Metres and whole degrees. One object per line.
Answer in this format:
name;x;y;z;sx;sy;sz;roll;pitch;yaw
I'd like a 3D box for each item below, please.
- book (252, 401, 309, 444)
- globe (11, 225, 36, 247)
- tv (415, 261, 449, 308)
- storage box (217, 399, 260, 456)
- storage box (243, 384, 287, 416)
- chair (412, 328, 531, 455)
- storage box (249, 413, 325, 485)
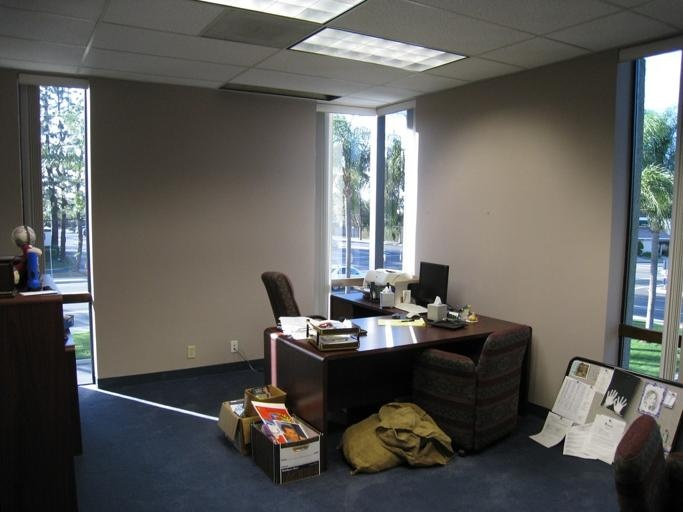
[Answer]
book;-0.473;1.324;3.773;0.216;0.083;0.333;-3;12;-20
globe;-2.317;-0.129;3.498;0.125;0.169;0.309;-7;12;-35
tv;0.999;0.323;5.239;0.057;0.482;0.449;1;4;-25
storage box;-0.875;1.441;4.130;0.319;0.302;0.424;-4;12;-26
storage box;-0.696;1.244;4.251;0.263;0.177;0.269;-2;8;-28
chair;1.188;1.058;4.330;0.887;1.050;0.918;4;9;24
storage box;-0.456;1.493;3.813;0.406;0.298;0.443;-3;5;-28
